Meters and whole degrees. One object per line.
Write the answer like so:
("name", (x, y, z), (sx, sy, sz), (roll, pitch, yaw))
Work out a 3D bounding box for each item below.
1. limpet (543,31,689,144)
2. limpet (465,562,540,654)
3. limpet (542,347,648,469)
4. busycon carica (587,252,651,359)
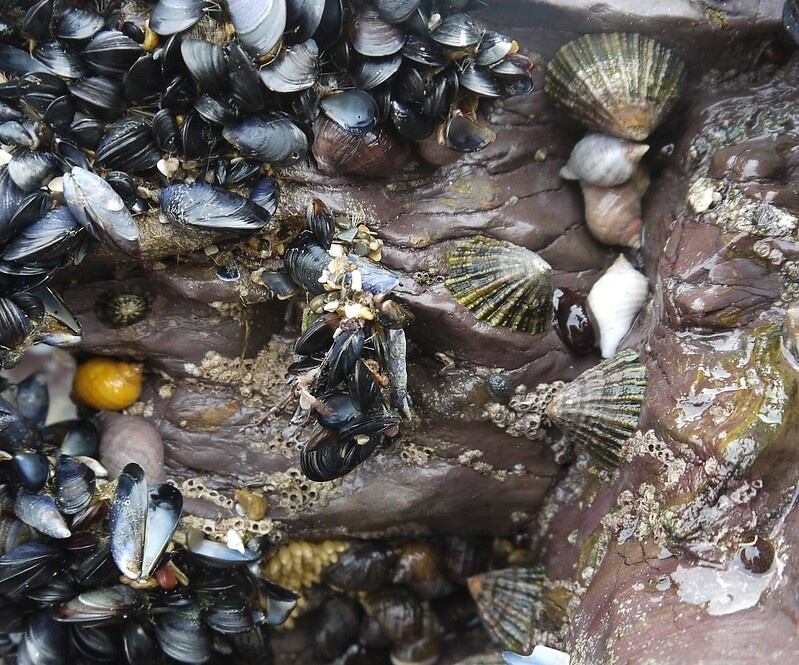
("limpet", (1.370, -1.565, 6.493), (0.871, 0.233, 0.709), (-34, 100, 18))
("limpet", (0.744, 1.836, 6.990), (0.631, 0.158, 0.451), (24, 97, 29))
("limpet", (1.278, 0.474, 6.734), (0.887, 0.198, 0.658), (4, 91, 11))
("busycon carica", (1.401, -0.138, 6.840), (0.325, 0.315, 0.573), (27, 66, 24))
